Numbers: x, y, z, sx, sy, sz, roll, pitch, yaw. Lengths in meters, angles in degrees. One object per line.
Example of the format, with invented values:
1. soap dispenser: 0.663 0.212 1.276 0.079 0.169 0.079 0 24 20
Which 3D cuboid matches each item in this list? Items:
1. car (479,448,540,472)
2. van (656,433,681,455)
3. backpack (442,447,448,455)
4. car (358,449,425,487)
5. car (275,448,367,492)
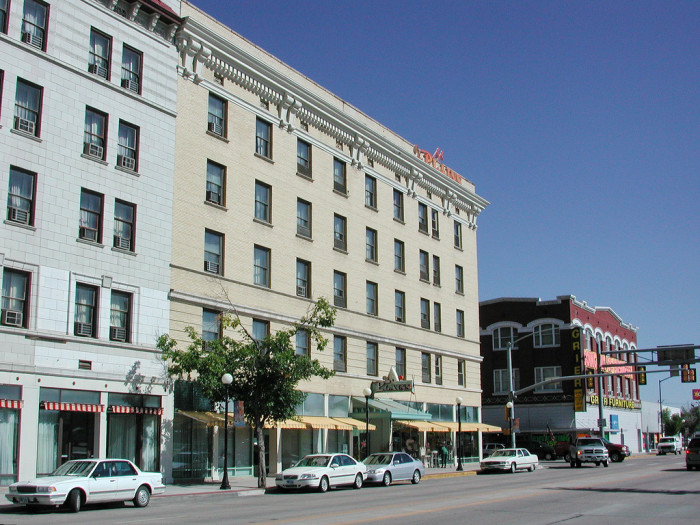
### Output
1. car: 10.507 12.905 54.394 4.774 1.797 2.039 15 -25 -41
2. van: 36.479 20.843 94.940 2.251 2.017 4.438 -10 -27 23
3. backpack: 6.645 13.351 58.756 0.334 0.731 0.695 0 -10 3
4. car: 2.039 10.696 42.951 1.328 1.757 4.178 -14 -23 34
5. car: -1.360 9.919 39.132 1.766 1.950 4.457 -17 -24 38
